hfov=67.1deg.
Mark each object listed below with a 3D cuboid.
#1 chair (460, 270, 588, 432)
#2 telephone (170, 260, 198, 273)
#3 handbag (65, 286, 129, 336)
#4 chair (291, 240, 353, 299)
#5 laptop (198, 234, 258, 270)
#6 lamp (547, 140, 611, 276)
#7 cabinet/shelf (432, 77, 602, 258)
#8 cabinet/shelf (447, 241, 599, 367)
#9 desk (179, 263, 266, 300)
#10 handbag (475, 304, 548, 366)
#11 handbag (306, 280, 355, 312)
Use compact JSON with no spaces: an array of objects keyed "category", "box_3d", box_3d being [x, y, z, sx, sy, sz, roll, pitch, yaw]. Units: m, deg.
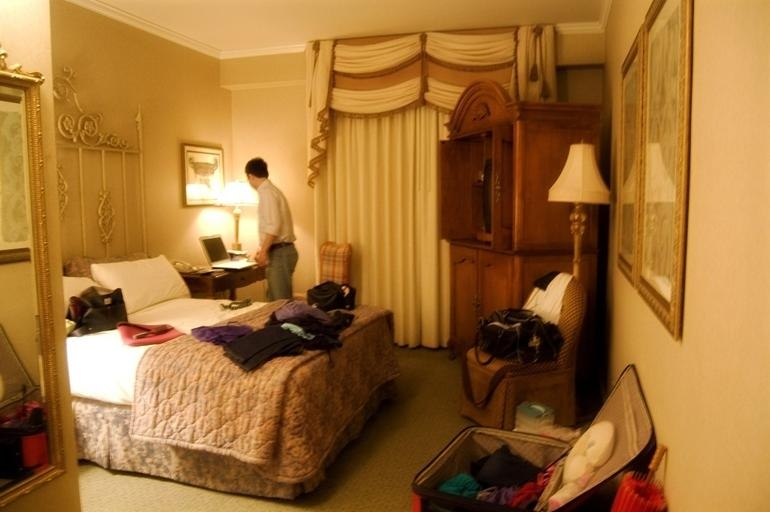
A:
[{"category":"chair","box_3d":[1.040,0.721,4.432,0.828,1.026,0.705,-4,6,-16]},{"category":"telephone","box_3d":[-2.032,0.105,5.861,0.194,0.062,0.149,3,4,-6]},{"category":"handbag","box_3d":[-2.160,0.400,4.336,0.360,0.340,0.353,-2,7,-21]},{"category":"chair","box_3d":[-0.577,0.234,6.097,0.401,0.656,0.451,10,20,31]},{"category":"laptop","box_3d":[-1.694,-0.012,6.186,0.418,0.270,0.442,4,11,8]},{"category":"lamp","box_3d":[1.489,-0.326,4.473,0.455,1.077,0.483,4,14,21]},{"category":"cabinet/shelf","box_3d":[1.088,-0.799,5.319,0.755,1.434,1.457,-3,8,-14]},{"category":"cabinet/shelf","box_3d":[1.056,0.514,5.361,0.529,1.217,1.274,-2,6,-16]},{"category":"desk","box_3d":[-1.684,0.373,6.296,0.522,0.449,0.961,1,8,25]},{"category":"handbag","box_3d":[0.925,0.559,4.379,0.513,0.272,0.621,4,20,8]},{"category":"handbag","box_3d":[-0.466,0.340,4.998,0.245,0.137,0.322,0,7,-15]}]
